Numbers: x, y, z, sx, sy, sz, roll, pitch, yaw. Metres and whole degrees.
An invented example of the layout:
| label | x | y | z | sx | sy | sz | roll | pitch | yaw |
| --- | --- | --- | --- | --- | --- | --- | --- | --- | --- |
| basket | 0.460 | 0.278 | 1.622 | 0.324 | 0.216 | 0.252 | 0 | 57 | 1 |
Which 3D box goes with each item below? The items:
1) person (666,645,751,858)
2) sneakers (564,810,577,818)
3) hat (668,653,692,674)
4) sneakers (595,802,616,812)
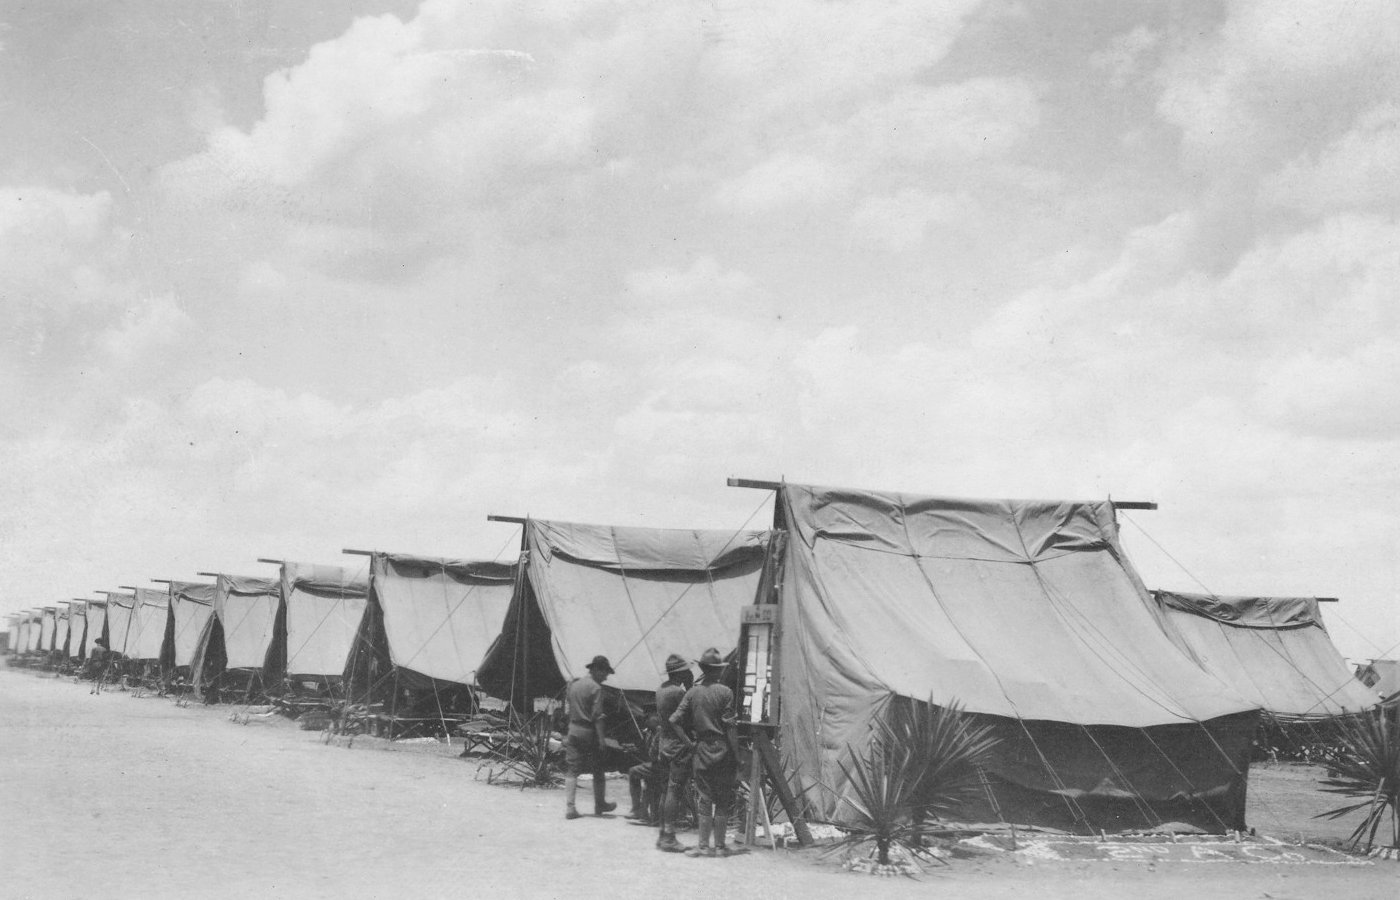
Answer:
| label | x | y | z | sx | sy | sz | roll | pitch | yaw |
| --- | --- | --- | --- | --- | --- | --- | --- | --- | --- |
| person | 0.101 | 4.135 | 20.596 | 0.801 | 2.811 | 0.782 | -1 | -20 | 0 |
| sneakers | -1.896 | 5.385 | 22.287 | 0.101 | 0.124 | 0.283 | -16 | -25 | 36 |
| hat | -0.319 | 3.164 | 21.946 | 0.350 | 0.134 | 0.363 | -28 | -6 | 10 |
| sneakers | -1.436 | 5.414 | 22.725 | 0.134 | 0.159 | 0.376 | -11 | -22 | 26 |
